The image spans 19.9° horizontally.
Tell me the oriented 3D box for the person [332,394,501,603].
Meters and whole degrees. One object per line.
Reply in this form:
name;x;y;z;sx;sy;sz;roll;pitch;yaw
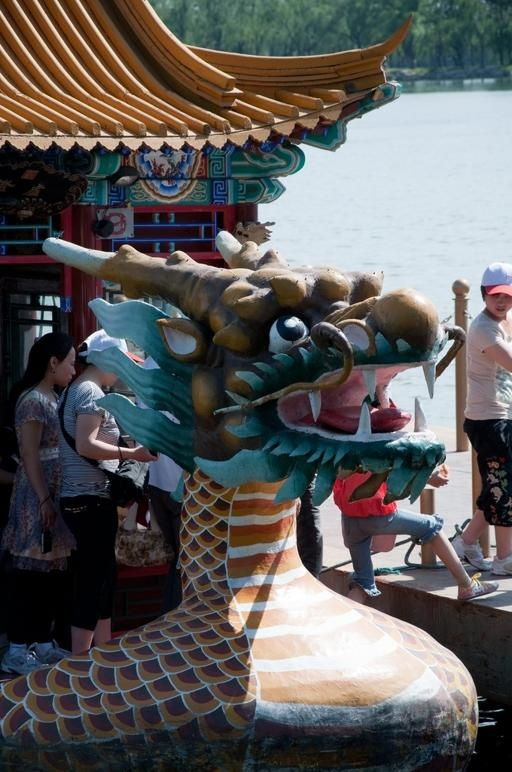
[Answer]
person;0.583;0.457;5.619;0.767;0.869;0.289;-9;15;-27

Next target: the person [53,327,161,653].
person;-0.529;0.390;5.029;0.305;1.194;0.462;-1;10;-8

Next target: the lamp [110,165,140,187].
lamp;-0.629;-0.994;6.877;0.124;0.095;0.150;-2;11;-11

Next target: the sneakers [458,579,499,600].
sneakers;0.862;0.782;5.689;0.168;0.074;0.065;-14;15;-27

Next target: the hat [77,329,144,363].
hat;-0.512;-0.140;4.876;0.228;0.140;0.144;-5;-1;10
